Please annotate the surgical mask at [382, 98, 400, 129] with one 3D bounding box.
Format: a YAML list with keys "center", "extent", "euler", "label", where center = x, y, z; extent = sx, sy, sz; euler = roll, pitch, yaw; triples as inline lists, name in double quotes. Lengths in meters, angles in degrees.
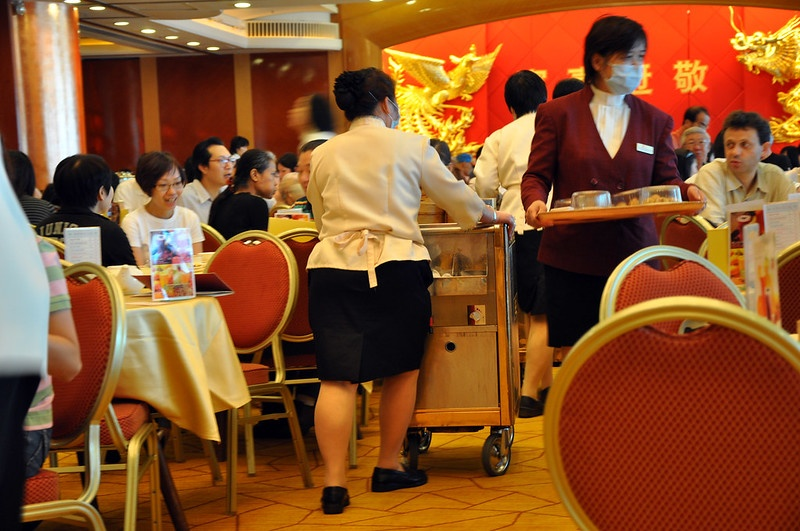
- center: [-0.051, -0.693, 3.094]
  extent: [0.100, 0.114, 0.073]
  euler: [19, 4, 39]
  label: "surgical mask"

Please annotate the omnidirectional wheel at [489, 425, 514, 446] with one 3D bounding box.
- center: [0.472, 0.799, 3.185]
  extent: [0.094, 0.129, 0.046]
  euler: [1, 3, 9]
  label: "omnidirectional wheel"

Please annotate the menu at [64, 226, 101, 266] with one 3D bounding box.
- center: [-1.451, -0.087, 3.088]
  extent: [0.184, 0.224, 0.023]
  euler: [-2, -9, -14]
  label: "menu"

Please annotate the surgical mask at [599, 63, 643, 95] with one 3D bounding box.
- center: [0.896, -0.757, 2.741]
  extent: [0.112, 0.081, 0.117]
  euler: [-3, 43, -6]
  label: "surgical mask"

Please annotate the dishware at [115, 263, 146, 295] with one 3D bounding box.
- center: [-1.201, 0.061, 3.003]
  extent: [0.136, 0.108, 0.163]
  euler: [0, -6, -5]
  label: "dishware"

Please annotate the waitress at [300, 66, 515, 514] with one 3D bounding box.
- center: [0.014, 0.096, 3.235]
  extent: [0.830, 1.889, 0.787]
  euler: [-2, 4, -4]
  label: "waitress"

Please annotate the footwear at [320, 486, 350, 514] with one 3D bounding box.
- center: [-0.279, 0.981, 2.832]
  extent: [0.065, 0.067, 0.161]
  euler: [0, 1, 2]
  label: "footwear"

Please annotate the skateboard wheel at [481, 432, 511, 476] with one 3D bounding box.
- center: [0.453, 0.895, 3.196]
  extent: [0.063, 0.151, 0.175]
  euler: [7, -15, 33]
  label: "skateboard wheel"

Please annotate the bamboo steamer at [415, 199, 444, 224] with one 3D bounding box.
- center: [0.137, -0.240, 3.276]
  extent: [0.147, 0.142, 0.102]
  euler: [0, -6, 2]
  label: "bamboo steamer"

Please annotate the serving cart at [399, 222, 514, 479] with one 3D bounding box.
- center: [0.337, 0.370, 3.364]
  extent: [0.679, 1.133, 0.543]
  euler: [-1, 3, 13]
  label: "serving cart"

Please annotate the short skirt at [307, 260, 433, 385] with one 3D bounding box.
- center: [-0.120, 0.240, 2.914]
  extent: [0.532, 0.519, 0.195]
  euler: [-3, 2, -9]
  label: "short skirt"

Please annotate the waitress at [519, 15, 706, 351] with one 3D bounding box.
- center: [0.814, -0.134, 2.860]
  extent: [0.700, 1.740, 0.609]
  euler: [1, 16, -8]
  label: "waitress"

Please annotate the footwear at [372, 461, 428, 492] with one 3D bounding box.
- center: [-0.002, 0.953, 3.105]
  extent: [0.249, 0.089, 0.112]
  euler: [-2, 0, -30]
  label: "footwear"
